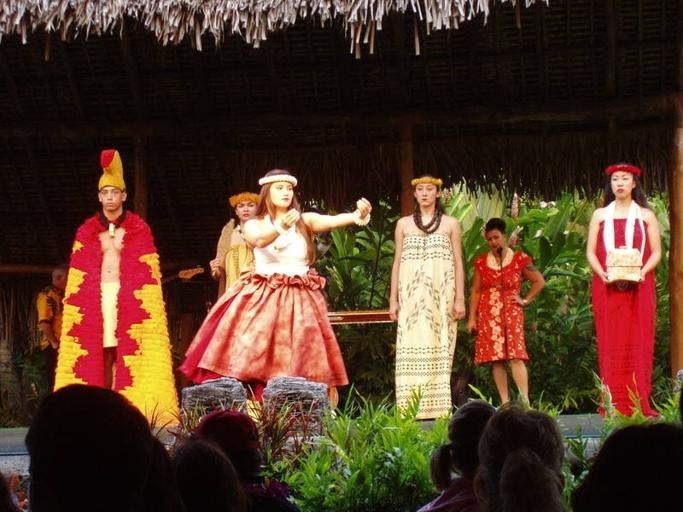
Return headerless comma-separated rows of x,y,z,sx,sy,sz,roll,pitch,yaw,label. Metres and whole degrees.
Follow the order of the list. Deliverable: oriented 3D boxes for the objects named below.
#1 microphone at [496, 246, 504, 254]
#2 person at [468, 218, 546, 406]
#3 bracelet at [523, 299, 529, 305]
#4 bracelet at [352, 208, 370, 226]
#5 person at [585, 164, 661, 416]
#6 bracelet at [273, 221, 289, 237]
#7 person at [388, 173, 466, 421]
1.387,-0.054,6.594,0.055,0.044,0.059,0,7,4,microphone
1.436,0.439,6.510,0.656,1.563,0.660,-2,-2,-8,person
1.601,0.391,6.557,0.076,0.033,0.137,-2,10,5,bracelet
0.144,-0.255,5.226,0.131,0.057,0.151,5,9,22,bracelet
2.219,0.212,5.836,0.551,1.282,0.532,-3,-2,13,person
-0.442,-0.200,5.281,0.096,0.036,0.097,44,1,24,bracelet
0.692,0.281,6.188,0.617,1.899,0.562,-3,-2,7,person
